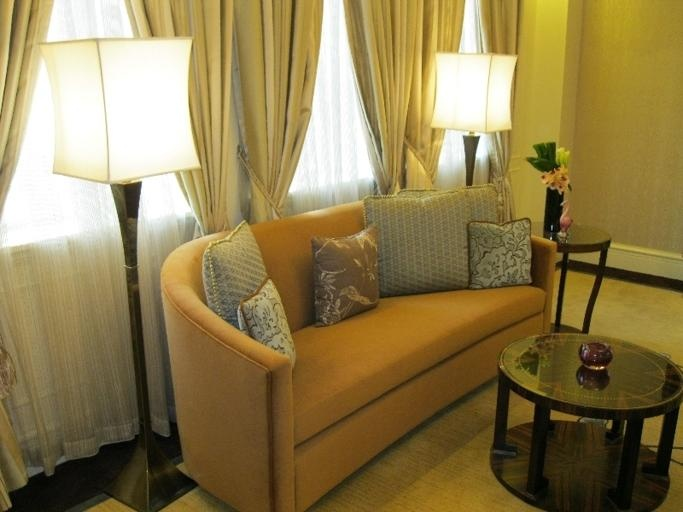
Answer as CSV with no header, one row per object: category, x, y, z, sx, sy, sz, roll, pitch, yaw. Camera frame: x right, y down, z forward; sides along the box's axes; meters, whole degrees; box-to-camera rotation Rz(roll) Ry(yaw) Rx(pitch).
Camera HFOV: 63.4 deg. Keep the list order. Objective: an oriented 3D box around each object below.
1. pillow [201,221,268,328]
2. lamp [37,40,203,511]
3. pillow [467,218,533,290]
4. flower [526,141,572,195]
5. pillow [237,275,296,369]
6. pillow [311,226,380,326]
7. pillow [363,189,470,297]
pillow,-0.479,0.048,2.611,0.138,0.392,0.371,-5,15,24
lamp,-0.841,0.132,2.400,0.601,2.030,0.322,-9,16,-21
pillow,0.963,-0.004,3.419,0.395,0.441,0.152,0,0,-9
flower,1.410,-0.605,3.797,0.284,0.333,0.335,3,16,20
pillow,-0.340,0.290,2.386,0.155,0.338,0.356,1,9,18
pillow,0.010,0.130,2.978,0.435,0.449,0.163,-14,8,-39
pillow,0.435,-0.048,3.311,0.503,0.566,0.187,-4,-8,-10
